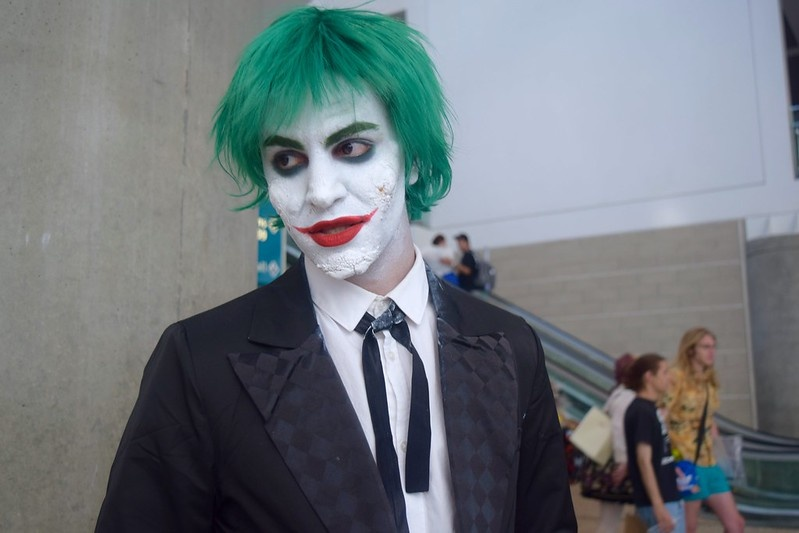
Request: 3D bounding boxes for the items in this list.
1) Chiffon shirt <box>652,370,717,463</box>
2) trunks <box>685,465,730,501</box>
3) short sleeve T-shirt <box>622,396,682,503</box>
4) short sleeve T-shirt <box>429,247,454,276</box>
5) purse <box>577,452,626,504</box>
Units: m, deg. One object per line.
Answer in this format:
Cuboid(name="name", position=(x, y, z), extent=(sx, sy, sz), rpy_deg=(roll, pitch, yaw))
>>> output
Cuboid(name="Chiffon shirt", position=(1.617, 0.867, 4.703), extent=(0.404, 0.623, 0.278), rpy_deg=(0, -12, -6))
Cuboid(name="trunks", position=(1.706, 1.215, 4.696), extent=(0.283, 0.226, 0.164), rpy_deg=(-6, -16, 1))
Cuboid(name="short sleeve T-shirt", position=(1.438, 1.056, 4.718), extent=(0.272, 0.592, 0.415), rpy_deg=(-23, -20, 23))
Cuboid(name="short sleeve T-shirt", position=(0.268, -0.025, 5.262), extent=(0.153, 0.169, 0.093), rpy_deg=(0, -18, -2))
Cuboid(name="purse", position=(1.176, 1.237, 4.885), extent=(0.242, 0.212, 0.354), rpy_deg=(0, 1, -21))
